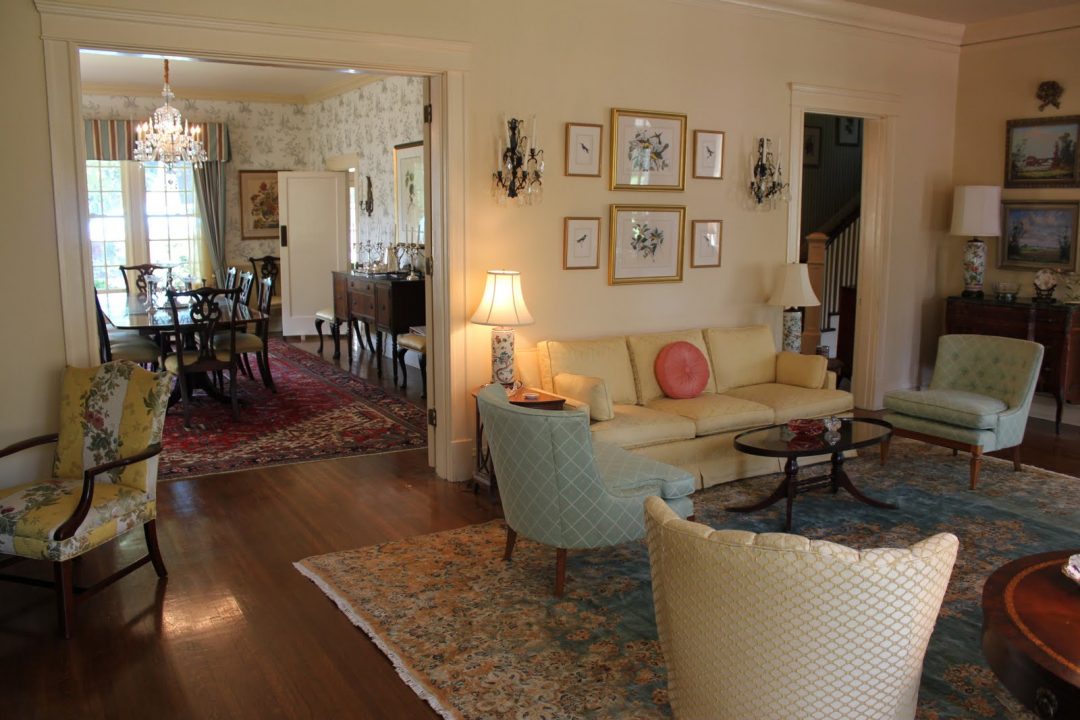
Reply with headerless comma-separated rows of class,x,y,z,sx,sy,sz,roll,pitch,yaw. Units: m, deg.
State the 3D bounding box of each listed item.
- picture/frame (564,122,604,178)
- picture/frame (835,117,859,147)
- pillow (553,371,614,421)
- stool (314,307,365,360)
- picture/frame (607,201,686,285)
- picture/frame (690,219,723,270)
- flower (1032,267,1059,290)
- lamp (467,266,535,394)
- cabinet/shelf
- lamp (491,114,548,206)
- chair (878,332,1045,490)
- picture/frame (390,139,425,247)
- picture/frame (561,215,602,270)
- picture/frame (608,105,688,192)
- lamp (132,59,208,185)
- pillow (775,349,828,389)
picture/frame,0.334,-1.704,5.774,0.487,0.533,0.052,-3,9,-31
picture/frame,4.297,-3.167,9.948,0.418,0.388,0.126,-10,15,-34
pillow,0.272,0.263,5.282,0.315,0.306,0.490,-10,14,-35
stool,-2.919,-0.432,10.284,0.730,0.479,0.733,3,2,-37
picture/frame,0.879,-1.019,6.117,0.757,0.587,0.058,-8,17,-28
picture/frame,1.479,-1.051,6.417,0.462,0.501,0.038,-6,10,-35
flower,4.882,-0.788,6.917,0.207,0.123,0.224,-26,30,13
lamp,-0.298,-0.243,5.390,0.444,0.839,0.490,-3,12,-7
cabinet/shelf,-2.025,-0.436,8.975,0.500,0.865,1.457,-4,11,-27
lamp,-0.162,-1.556,5.540,0.162,0.628,0.442,10,17,42
chair,3.407,0.300,6.210,1.372,1.437,1.290,-4,7,-33
picture/frame,-1.672,-2.089,8.970,0.220,1.231,0.936,-8,14,-24
picture/frame,0.318,-0.968,5.840,0.464,0.486,0.051,-5,10,-34
picture/frame,0.876,-1.799,6.022,0.826,0.637,0.063,-4,10,-29
lamp,-4.753,-3.184,9.215,0.814,1.658,0.787,-12,21,-37
pillow,2.248,0.062,6.174,0.355,0.298,0.350,6,1,23
